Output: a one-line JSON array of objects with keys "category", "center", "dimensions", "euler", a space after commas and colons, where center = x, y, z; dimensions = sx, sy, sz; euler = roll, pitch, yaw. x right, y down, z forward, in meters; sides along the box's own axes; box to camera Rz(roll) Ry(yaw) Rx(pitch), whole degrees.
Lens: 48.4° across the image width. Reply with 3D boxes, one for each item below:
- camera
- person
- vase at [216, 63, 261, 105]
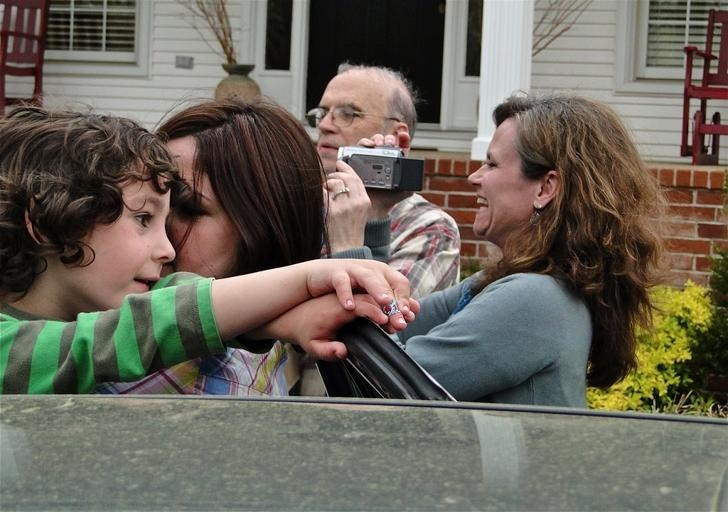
[{"category": "camera", "center": [0.065, -0.365, 3.404], "dimensions": [0.309, 0.159, 0.187], "euler": [3, 5, 5]}, {"category": "person", "center": [0.162, -0.031, 2.395], "dimensions": [0.916, 0.970, 1.714], "euler": [5, 6, 43]}, {"category": "vase", "center": [-1.146, -1.551, 7.336], "dimensions": [0.380, 0.362, 0.385], "euler": [14, 21, 31]}]
